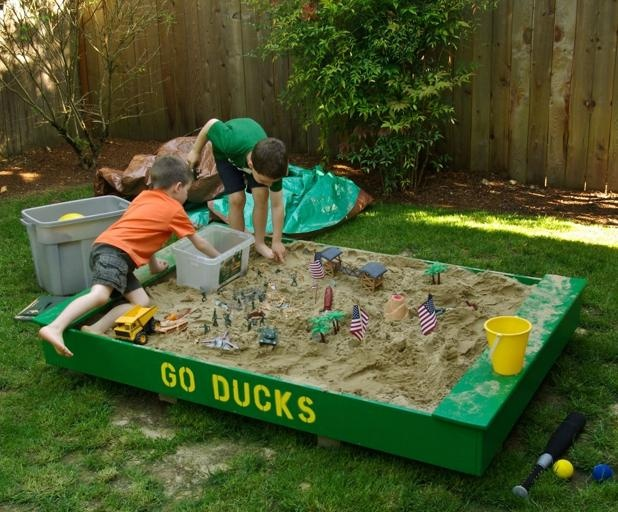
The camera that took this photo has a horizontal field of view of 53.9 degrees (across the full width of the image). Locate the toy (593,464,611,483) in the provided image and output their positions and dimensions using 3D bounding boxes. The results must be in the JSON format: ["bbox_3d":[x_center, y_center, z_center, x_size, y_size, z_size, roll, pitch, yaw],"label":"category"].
[{"bbox_3d":[1.359,0.992,2.822,0.073,0.075,0.084,-2,-11,-43],"label":"toy"}]

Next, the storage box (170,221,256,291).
[{"bbox_3d":[-0.702,0.047,4.659,0.458,0.337,0.621,23,36,23],"label":"storage box"}]

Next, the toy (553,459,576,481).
[{"bbox_3d":[1.191,0.987,2.852,0.085,0.101,0.085,-39,54,-9],"label":"toy"}]

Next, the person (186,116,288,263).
[{"bbox_3d":[-0.497,-0.555,4.866,0.595,1.050,0.980,-24,42,-35],"label":"person"}]

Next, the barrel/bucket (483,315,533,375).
[{"bbox_3d":[0.985,0.428,3.120,0.296,0.259,0.263,-1,3,7],"label":"barrel/bucket"}]

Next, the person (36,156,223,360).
[{"bbox_3d":[-1.226,-0.025,4.039,0.608,0.951,1.528,12,35,21],"label":"person"}]
